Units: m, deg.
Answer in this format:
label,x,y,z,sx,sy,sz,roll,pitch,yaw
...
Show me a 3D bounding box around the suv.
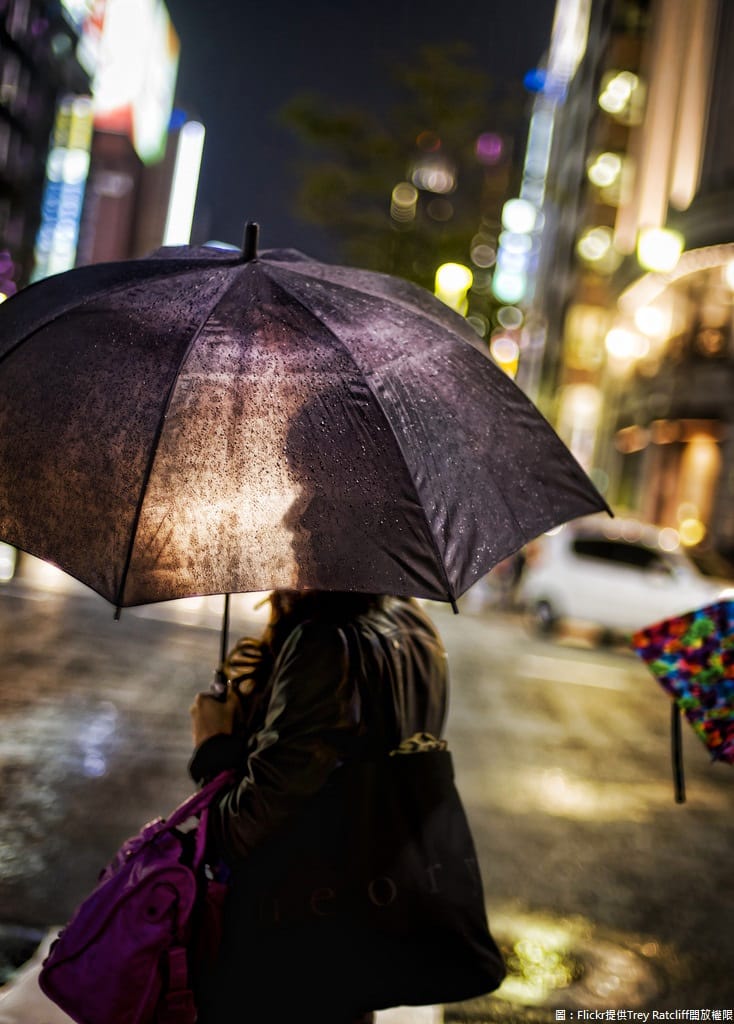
label,x,y,z,sx,sy,sz,roll,pitch,yaw
suv,3.848,1.591,13.094,4.001,1.965,2.430,-3,29,8
